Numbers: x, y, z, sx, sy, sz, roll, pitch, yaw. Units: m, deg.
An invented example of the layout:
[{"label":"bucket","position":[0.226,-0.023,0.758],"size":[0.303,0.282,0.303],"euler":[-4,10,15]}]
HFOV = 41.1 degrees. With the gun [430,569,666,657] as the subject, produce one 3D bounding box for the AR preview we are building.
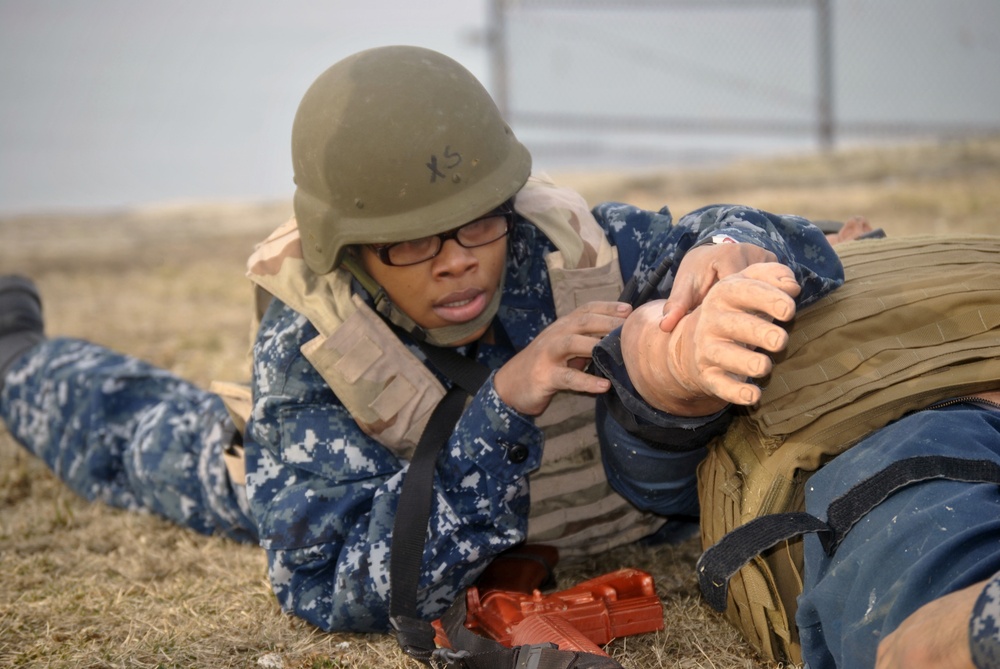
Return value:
[{"label":"gun","position":[0.248,1.042,4.975],"size":[0.442,0.170,0.425],"euler":[-10,14,-35]}]
